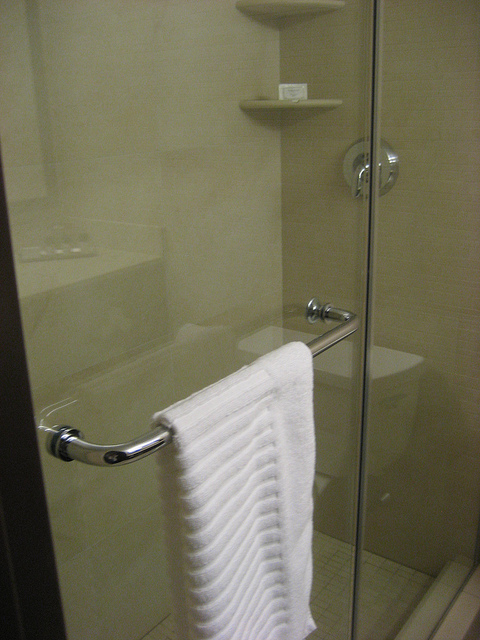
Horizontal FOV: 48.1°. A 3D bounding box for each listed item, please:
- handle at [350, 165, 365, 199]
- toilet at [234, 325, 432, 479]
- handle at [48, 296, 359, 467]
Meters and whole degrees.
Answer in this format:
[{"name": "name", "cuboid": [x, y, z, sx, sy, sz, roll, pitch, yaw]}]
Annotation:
[{"name": "handle", "cuboid": [0.203, -0.239, 0.938, 0.012, 0.050, 0.039, 14, 12, 39]}, {"name": "toilet", "cuboid": [0.139, 0.155, 1.148, 0.420, 0.253, 0.270, 14, 25, 33]}, {"name": "handle", "cuboid": [0.004, 0.012, 0.743, 0.150, 0.075, 0.545, 17, 27, 30]}]
